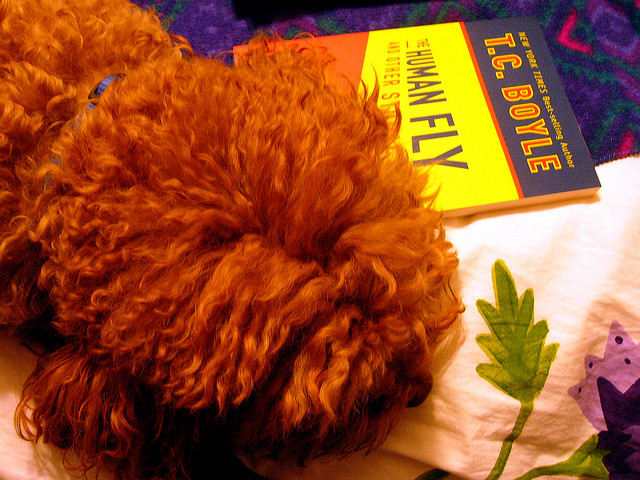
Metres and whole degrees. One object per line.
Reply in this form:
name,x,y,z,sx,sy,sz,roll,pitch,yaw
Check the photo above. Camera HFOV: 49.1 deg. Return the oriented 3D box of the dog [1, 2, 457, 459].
dog,-0.114,-0.044,0.876,0.536,0.469,0.437,-8,39,4
